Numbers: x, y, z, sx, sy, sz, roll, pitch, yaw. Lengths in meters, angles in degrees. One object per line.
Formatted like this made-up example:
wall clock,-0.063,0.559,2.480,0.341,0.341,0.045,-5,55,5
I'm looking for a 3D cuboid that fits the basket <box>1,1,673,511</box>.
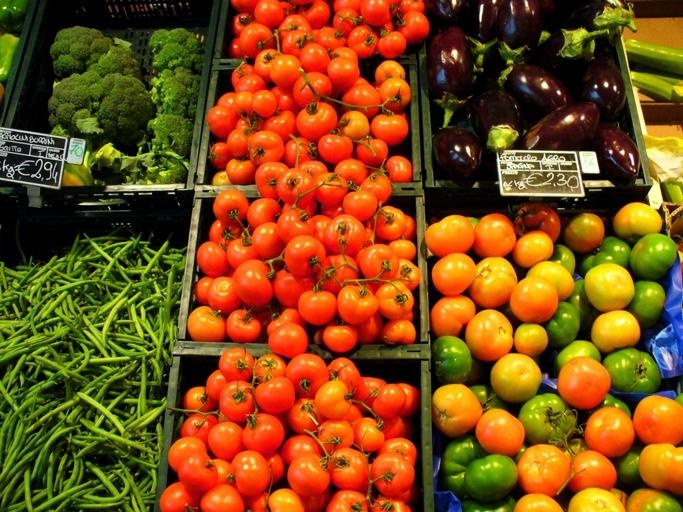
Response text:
basket,0.053,0.055,3.292,2.384,2.408,2.496,1,11,4
